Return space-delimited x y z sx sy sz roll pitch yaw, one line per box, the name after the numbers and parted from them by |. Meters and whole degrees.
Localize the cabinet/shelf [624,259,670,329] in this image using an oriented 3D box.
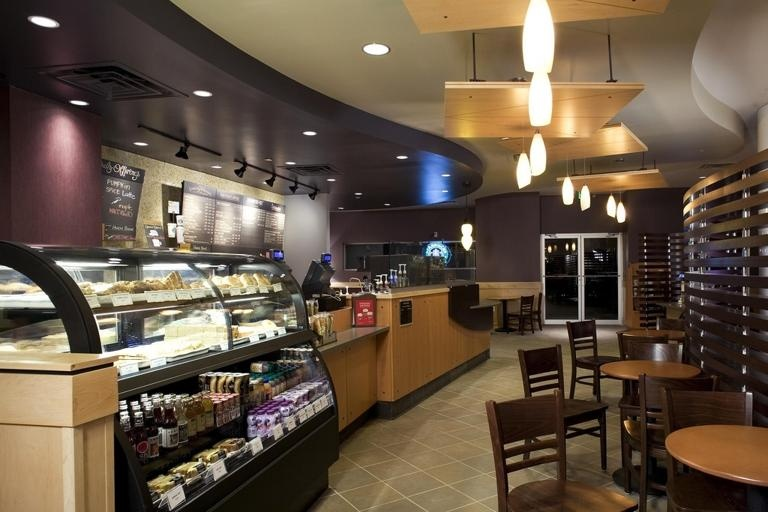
6.104 0.922 11.888 0.873 1.551 0.659 1 5 29 | cabinet/shelf

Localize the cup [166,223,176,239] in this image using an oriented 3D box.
-2.059 -0.248 4.995 0.070 0.132 0.140 -3 4 -20 | cup

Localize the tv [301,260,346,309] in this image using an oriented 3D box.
-0.688 0.324 6.009 0.527 0.633 0.589 -2 -4 21 | tv

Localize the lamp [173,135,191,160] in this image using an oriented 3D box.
-2.524 -1.355 6.376 0.244 0.245 0.238 2 -3 7 | lamp

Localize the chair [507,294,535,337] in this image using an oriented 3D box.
3.239 1.339 11.999 0.592 0.923 1.370 0 4 16 | chair
